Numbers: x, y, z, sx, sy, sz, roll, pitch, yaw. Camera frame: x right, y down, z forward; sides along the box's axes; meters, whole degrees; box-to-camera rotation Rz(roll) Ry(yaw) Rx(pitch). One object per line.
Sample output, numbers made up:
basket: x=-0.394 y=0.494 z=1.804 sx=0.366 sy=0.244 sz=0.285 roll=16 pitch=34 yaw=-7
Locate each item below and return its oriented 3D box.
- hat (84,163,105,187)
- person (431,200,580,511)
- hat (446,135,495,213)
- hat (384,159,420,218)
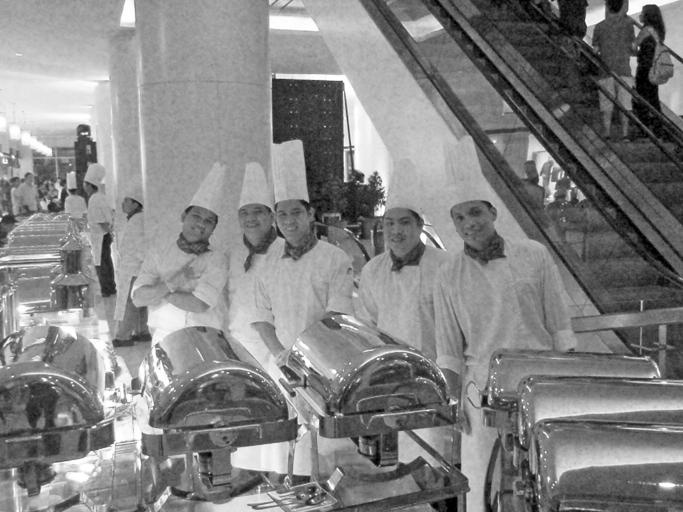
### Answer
hat: x=-0.599 y=-0.199 z=1.605 sx=0.044 sy=0.052 sz=0.053 roll=30 pitch=13 yaw=9
person: x=0.527 y=0.317 z=2.216 sx=0.514 sy=0.957 sz=0.271 roll=5 pitch=-11 yaw=-34
hat: x=0.401 y=-0.265 z=2.091 sx=0.123 sy=0.187 sz=0.190 roll=-4 pitch=-9 yaw=15
hat: x=0.199 y=-0.220 z=2.121 sx=0.123 sy=0.177 sz=0.085 roll=-1 pitch=-9 yaw=-5
